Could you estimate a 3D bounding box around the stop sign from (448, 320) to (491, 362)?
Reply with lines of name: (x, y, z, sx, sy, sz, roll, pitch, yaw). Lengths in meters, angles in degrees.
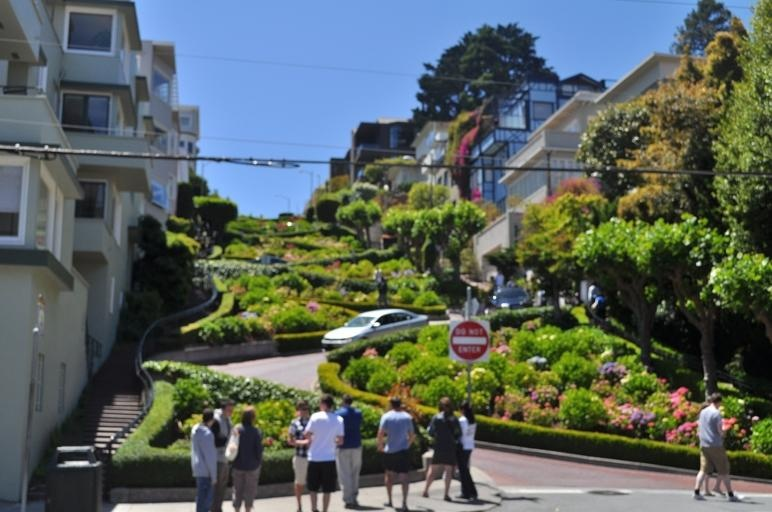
stop sign: (3.003, 2.928, 49.398, 1.584, 1.627, 1.537, -2, 32, -1)

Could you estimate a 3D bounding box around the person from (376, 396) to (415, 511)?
person: (0.379, 6.621, 47.271, 1.229, 3.767, 1.026, 0, -5, 1)
